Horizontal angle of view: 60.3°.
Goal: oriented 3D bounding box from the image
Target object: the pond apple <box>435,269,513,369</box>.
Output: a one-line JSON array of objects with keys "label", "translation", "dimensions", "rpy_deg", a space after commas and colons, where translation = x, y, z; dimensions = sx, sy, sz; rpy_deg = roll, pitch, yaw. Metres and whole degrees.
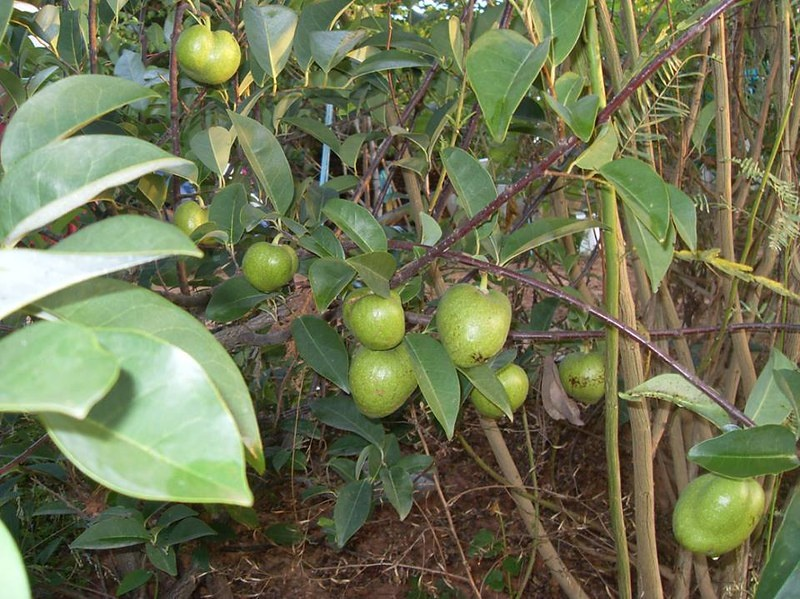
[{"label": "pond apple", "translation": [0.128, 0.039, 1.175], "dimensions": [0.125, 0.161, 0.131], "rpy_deg": [4, 3, -20]}]

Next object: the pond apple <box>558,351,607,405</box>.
[{"label": "pond apple", "translation": [0.407, 0.169, 1.596], "dimensions": [0.108, 0.122, 0.109], "rpy_deg": [-7, 14, 1]}]

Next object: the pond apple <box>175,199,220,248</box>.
[{"label": "pond apple", "translation": [-0.465, -0.177, 1.554], "dimensions": [0.085, 0.100, 0.081], "rpy_deg": [-8, 40, -36]}]

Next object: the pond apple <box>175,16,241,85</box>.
[{"label": "pond apple", "translation": [-0.406, -0.519, 1.439], "dimensions": [0.140, 0.144, 0.130], "rpy_deg": [14, 15, 38]}]

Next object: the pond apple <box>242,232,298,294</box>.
[{"label": "pond apple", "translation": [-0.265, -0.063, 1.426], "dimensions": [0.084, 0.126, 0.101], "rpy_deg": [18, 38, 21]}]
